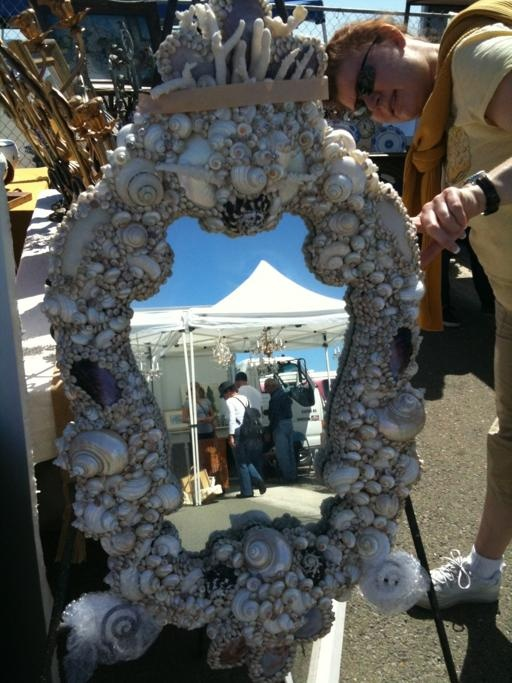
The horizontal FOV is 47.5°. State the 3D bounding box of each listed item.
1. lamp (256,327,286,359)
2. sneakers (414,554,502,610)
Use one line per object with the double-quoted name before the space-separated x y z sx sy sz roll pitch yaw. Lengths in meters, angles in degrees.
"lamp" 0.029 0.006 1.232 0.068 0.067 0.063 2 2 15
"sneakers" 0.591 0.711 1.734 0.304 0.114 0.137 -1 22 4
